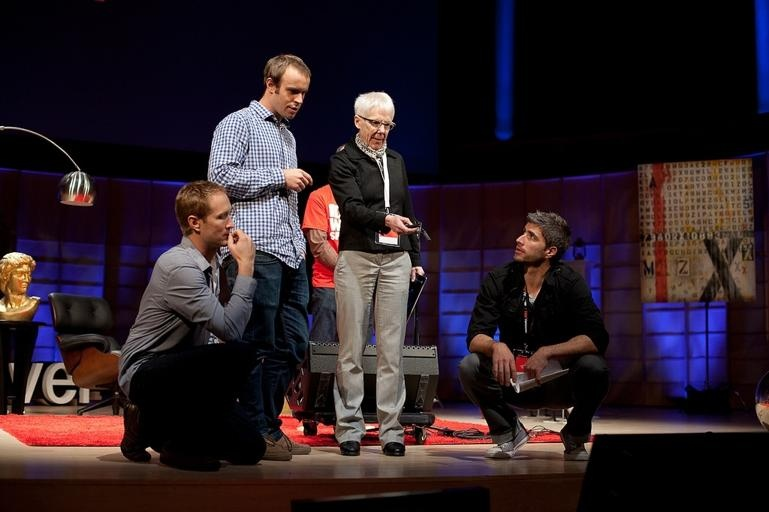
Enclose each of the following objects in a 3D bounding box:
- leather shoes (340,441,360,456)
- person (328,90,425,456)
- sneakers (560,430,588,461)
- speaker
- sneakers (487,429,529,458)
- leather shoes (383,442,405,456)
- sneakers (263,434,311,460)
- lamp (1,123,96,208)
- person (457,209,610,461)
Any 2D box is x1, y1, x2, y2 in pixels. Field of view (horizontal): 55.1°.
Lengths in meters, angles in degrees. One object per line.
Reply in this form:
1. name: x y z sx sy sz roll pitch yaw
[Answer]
1. leather shoes: -0.217 1.209 4.655 0.116 0.084 0.110 -1 0 -7
2. person: -0.059 0.092 4.844 0.595 2.348 0.515 -1 1 1
3. sneakers: 1.195 1.192 4.662 0.163 0.158 0.232 -1 0 12
4. speaker: -0.214 1.022 5.811 1.125 0.690 0.881 5 -8 -19
5. sneakers: 0.805 1.184 4.724 0.315 0.119 0.122 -12 -8 -42
6. leather shoes: 0.056 1.219 4.688 0.139 0.088 0.112 -1 0 0
7. sneakers: -0.589 1.182 4.575 0.107 0.119 0.319 -1 -5 41
8. lamp: -3.854 -1.043 8.357 1.026 0.696 2.144 -1 0 -22
9. person: 0.961 0.500 4.791 0.927 1.603 0.512 -1 1 15
